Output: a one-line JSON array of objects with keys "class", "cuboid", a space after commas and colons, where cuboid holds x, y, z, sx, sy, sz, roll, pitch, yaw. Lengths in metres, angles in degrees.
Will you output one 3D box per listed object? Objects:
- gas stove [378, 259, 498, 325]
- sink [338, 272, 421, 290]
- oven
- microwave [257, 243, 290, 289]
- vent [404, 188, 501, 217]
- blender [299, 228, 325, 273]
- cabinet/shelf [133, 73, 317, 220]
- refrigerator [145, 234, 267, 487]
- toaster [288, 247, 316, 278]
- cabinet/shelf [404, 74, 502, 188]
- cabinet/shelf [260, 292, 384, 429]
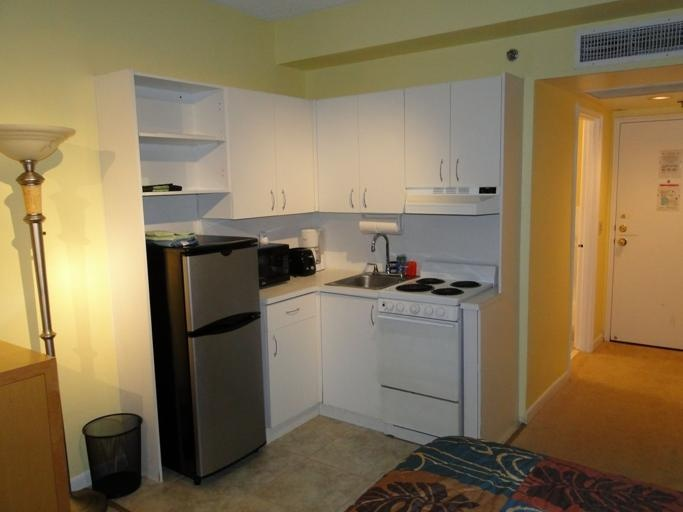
[{"class": "gas stove", "cuboid": [0.792, 0.255, 4.186, 0.582, 0.257, 0.604, 5, 12, 38]}, {"class": "sink", "cuboid": [0.221, 0.209, 4.645, 0.242, 0.102, 0.290, 5, 9, 35]}, {"class": "oven", "cuboid": [0.749, 0.681, 4.210, 0.774, 0.755, 0.613, 1, 4, 41]}, {"class": "microwave", "cuboid": [-0.562, 0.083, 4.411, 0.197, 0.291, 0.360, 3, 6, 31]}, {"class": "vent", "cuboid": [0.829, -0.425, 4.105, 0.750, 0.221, 0.174, 11, 19, 40]}, {"class": "blender", "cuboid": [-0.288, -0.056, 5.024, 0.232, 0.366, 0.207, -7, 8, -30]}, {"class": "cabinet/shelf", "cuboid": [-0.939, -0.835, 4.163, 0.389, 0.844, 1.322, 2, 5, 36]}, {"class": "refrigerator", "cuboid": [-0.931, 0.717, 3.781, 0.756, 1.610, 0.560, -4, 15, -10]}, {"class": "toaster", "cuboid": [-0.349, 0.055, 4.790, 0.240, 0.316, 0.237, 0, 5, 23]}, {"class": "cabinet/shelf", "cuboid": [0.854, -0.921, 4.041, 0.892, 0.944, 0.367, 3, 7, 34]}, {"class": "cabinet/shelf", "cuboid": [-0.310, 0.804, 4.571, 0.929, 1.276, 1.037, 2, 4, 30]}]
